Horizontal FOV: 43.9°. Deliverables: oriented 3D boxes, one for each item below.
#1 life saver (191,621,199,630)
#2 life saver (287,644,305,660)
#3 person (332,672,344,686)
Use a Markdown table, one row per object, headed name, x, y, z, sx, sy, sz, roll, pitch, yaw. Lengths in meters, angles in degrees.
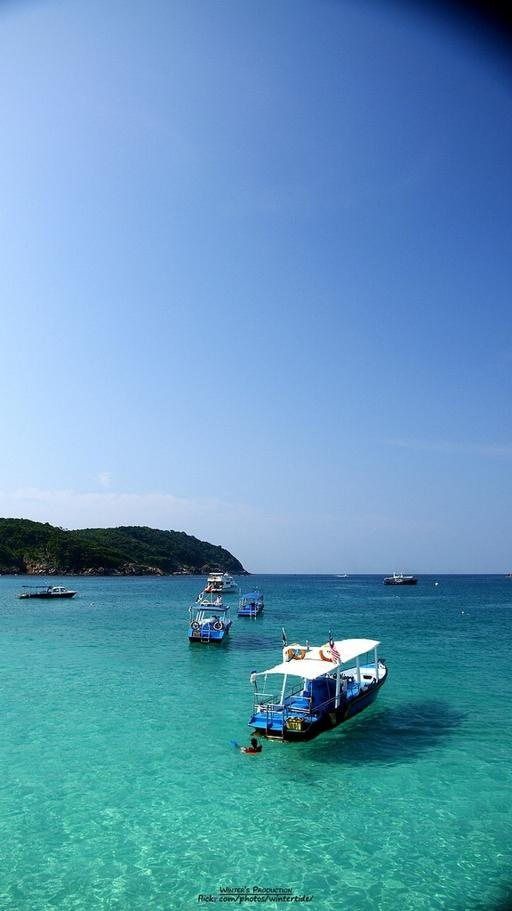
| name | x | y | z | sx | sy | sz | roll | pitch | yaw |
| --- | --- | --- | --- | --- | --- | --- | --- | --- | --- |
| life saver | -5.716 | 16.281 | 60.251 | 0.753 | 0.760 | 0.698 | 0 | -8 | 6 |
| life saver | 2.105 | 10.388 | 33.421 | 0.754 | 0.935 | 0.620 | -1 | -3 | 7 |
| person | 4.020 | 10.805 | 31.138 | 0.578 | 0.884 | 0.356 | 9 | -25 | -35 |
